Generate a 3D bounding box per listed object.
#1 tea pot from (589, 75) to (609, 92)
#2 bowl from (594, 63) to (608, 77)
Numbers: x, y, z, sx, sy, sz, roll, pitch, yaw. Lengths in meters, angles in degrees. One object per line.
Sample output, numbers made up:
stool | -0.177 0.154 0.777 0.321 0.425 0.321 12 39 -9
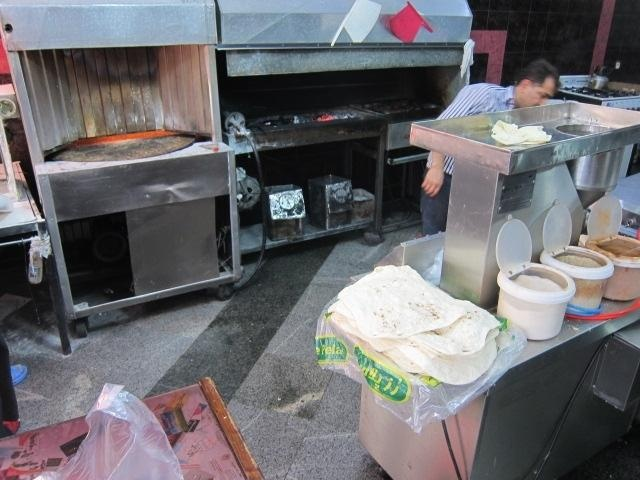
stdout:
tea pot | 3.212 -1.819 5.381 0.212 0.164 0.164 -9 29 -19
bowl | 3.298 -1.992 5.461 0.164 0.105 0.208 19 33 37
